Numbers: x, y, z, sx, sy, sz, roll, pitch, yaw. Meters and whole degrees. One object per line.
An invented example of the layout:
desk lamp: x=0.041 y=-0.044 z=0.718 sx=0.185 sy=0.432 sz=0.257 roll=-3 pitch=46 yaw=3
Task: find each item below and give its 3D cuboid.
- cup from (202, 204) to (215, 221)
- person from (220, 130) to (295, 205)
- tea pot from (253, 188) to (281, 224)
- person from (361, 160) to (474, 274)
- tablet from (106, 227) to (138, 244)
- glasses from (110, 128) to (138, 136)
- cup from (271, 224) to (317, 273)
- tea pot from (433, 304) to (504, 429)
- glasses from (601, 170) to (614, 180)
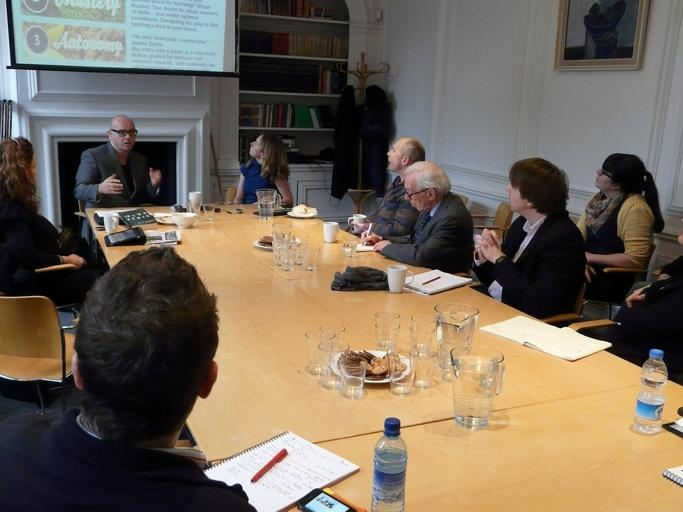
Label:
cup: x=-1.056 y=-0.341 z=3.956 sx=0.102 sy=0.168 sz=0.110 roll=0 pitch=8 yaw=0
person: x=-0.847 y=-0.852 z=5.335 sx=0.696 sy=1.034 sz=0.727 roll=1 pitch=7 yaw=-26
tea pot: x=-0.652 y=-0.403 z=4.041 sx=0.192 sy=0.197 sz=0.129 roll=-7 pitch=3 yaw=-34
person: x=0.473 y=-0.324 z=3.699 sx=0.760 sy=1.335 sz=0.657 roll=-1 pitch=8 yaw=-5
tablet: x=-1.385 y=-0.121 z=3.194 sx=0.149 sy=0.050 sz=0.109 roll=-5 pitch=26 yaw=-32
glasses: x=-2.076 y=-1.167 z=4.755 sx=0.216 sy=0.075 sz=0.119 roll=-10 pitch=14 yaw=-29
cup: x=-0.301 y=-0.041 z=2.975 sx=0.171 sy=0.160 sz=0.390 roll=-5 pitch=9 yaw=-23
tea pot: x=0.389 y=0.325 z=1.592 sx=0.118 sy=0.139 sz=0.366 roll=-2 pitch=18 yaw=-7
glasses: x=2.090 y=-0.642 z=3.943 sx=0.074 sy=0.024 sz=0.073 roll=29 pitch=5 yaw=-9
